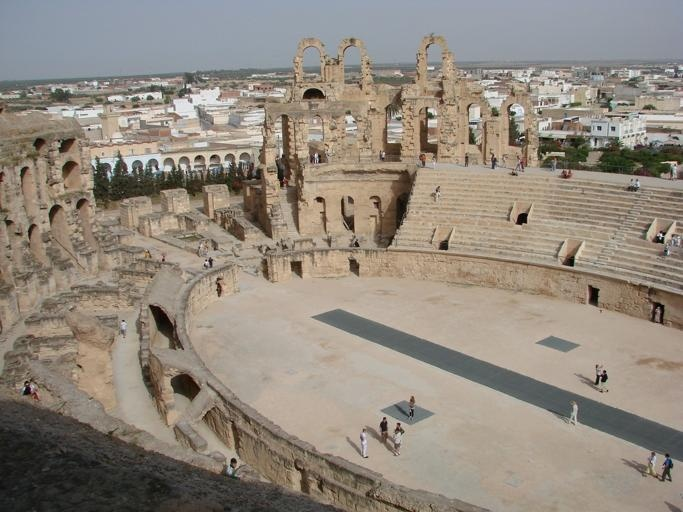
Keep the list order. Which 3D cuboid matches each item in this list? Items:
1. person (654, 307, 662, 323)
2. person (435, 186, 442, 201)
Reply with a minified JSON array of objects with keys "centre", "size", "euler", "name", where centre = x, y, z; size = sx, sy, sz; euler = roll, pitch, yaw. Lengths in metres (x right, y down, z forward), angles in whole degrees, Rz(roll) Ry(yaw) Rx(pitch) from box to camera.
[{"centre":[17.126,3.166,27.948],"size":[0.312,0.866,0.435],"euler":[6,20,19],"name":"person"},{"centre":[6.965,-4.498,37.371],"size":[0.433,0.924,1.223],"euler":[3,18,10],"name":"person"}]
